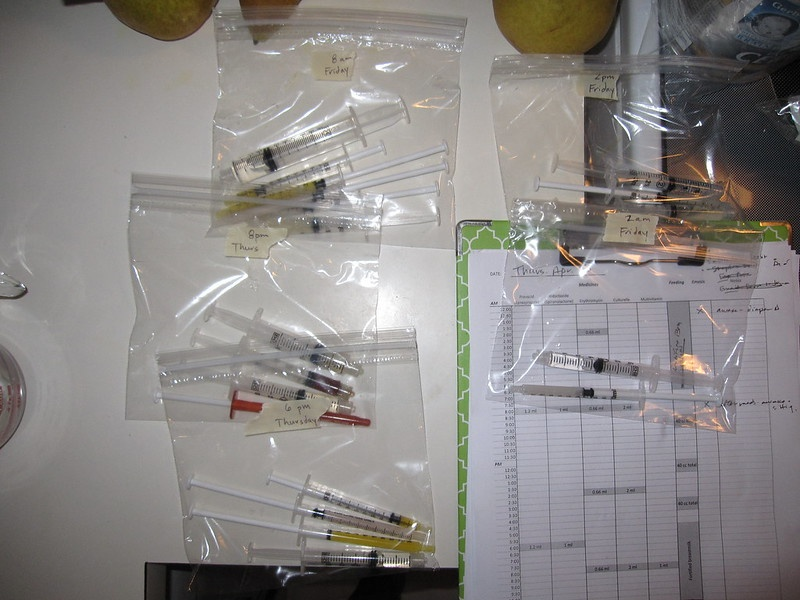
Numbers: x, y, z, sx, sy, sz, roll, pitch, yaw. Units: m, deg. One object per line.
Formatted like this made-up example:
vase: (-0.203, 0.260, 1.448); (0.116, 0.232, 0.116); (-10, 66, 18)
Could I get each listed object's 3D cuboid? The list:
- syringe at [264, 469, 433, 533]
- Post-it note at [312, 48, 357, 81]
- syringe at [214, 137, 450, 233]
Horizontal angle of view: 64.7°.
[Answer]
syringe: (-0.152, 0.566, 1.761); (0.344, 0.048, 0.052); (21, 79, -2)
Post-it note: (-0.187, -0.661, 1.777); (0.086, 0.009, 0.065); (2, 94, 2)
syringe: (-0.192, -0.315, 1.774); (0.760, 0.112, 0.138); (-12, 89, -1)
